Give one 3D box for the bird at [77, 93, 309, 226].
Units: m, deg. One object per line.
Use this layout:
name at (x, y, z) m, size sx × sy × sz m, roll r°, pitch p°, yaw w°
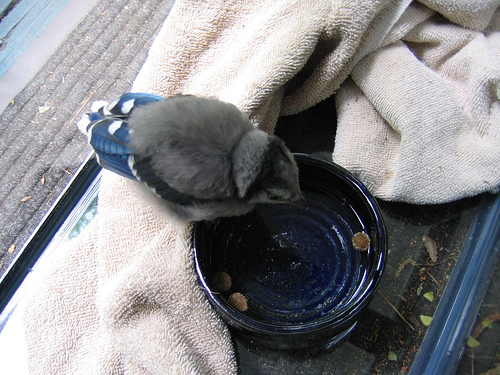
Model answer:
bird at (-0.186, -0.104, 1.816) m, size 0.490 × 0.291 × 0.262 m, roll 42°, pitch 69°, yaw -29°
